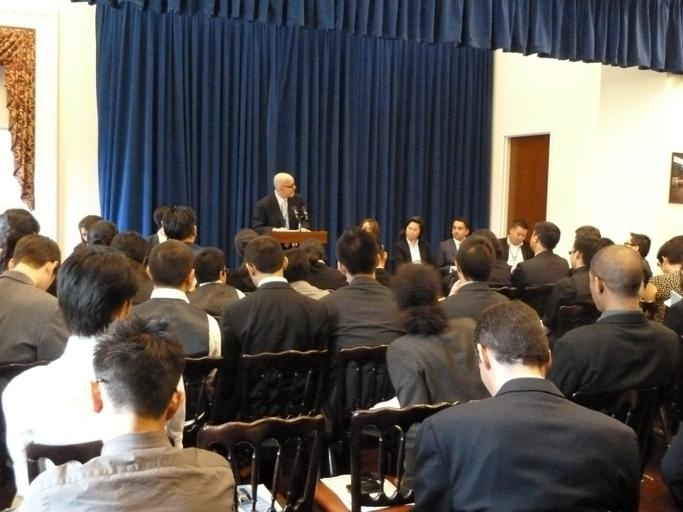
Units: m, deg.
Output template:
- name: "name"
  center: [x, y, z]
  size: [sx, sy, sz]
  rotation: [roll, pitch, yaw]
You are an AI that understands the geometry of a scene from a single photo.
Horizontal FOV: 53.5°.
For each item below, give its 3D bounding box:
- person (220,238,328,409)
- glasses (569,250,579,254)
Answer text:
- name: "person"
  center: [-0.399, 0.390, 3.850]
  size: [0.490, 1.178, 0.541]
  rotation: [-12, 41, -17]
- name: "glasses"
  center: [1.684, -0.029, 4.923]
  size: [0.075, 0.027, 0.079]
  rotation: [2, -2, -26]
